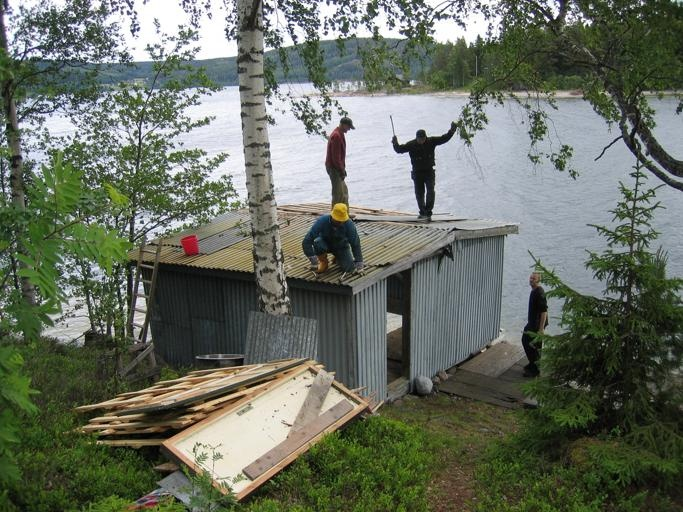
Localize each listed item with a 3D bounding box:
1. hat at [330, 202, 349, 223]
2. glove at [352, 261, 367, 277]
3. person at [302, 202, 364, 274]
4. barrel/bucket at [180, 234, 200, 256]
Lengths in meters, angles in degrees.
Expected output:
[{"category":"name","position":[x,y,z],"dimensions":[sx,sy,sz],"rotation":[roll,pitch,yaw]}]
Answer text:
[{"category":"hat","position":[-0.052,-0.883,11.829],"dimensions":[0.289,0.218,0.388],"rotation":[1,28,-13]},{"category":"glove","position":[0.351,0.261,12.180],"dimensions":[0.187,0.102,0.299],"rotation":[-22,24,-20]},{"category":"person","position":[-0.128,-0.401,12.214],"dimensions":[1.235,1.670,1.019],"rotation":[7,33,6]},{"category":"barrel/bucket","position":[-3.665,-0.272,14.274],"dimensions":[0.401,0.513,0.457],"rotation":[-4,16,-20]}]
